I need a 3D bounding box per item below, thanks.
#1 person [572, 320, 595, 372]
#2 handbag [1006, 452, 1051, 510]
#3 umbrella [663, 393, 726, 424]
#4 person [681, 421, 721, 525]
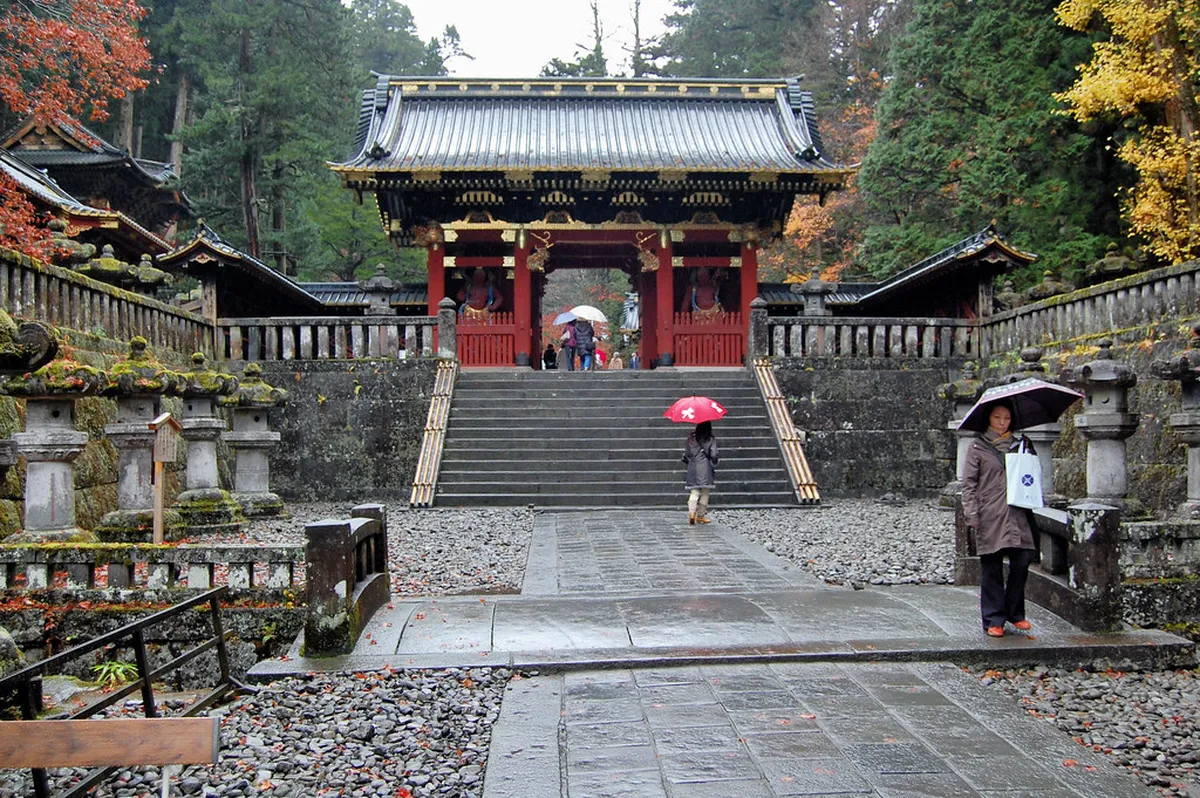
[{"bbox_3d":[-0.338,-1.231,29.433,0.473,1.134,1.201,2,8,-4],"label":"person"},{"bbox_3d":[4.927,0.945,15.028,0.446,0.670,0.239,4,8,12],"label":"handbag"},{"bbox_3d":[1.496,0.206,20.213,0.799,0.439,0.773,2,8,-1],"label":"umbrella"},{"bbox_3d":[1.575,1.140,20.486,0.499,1.629,0.550,3,8,2],"label":"person"}]
